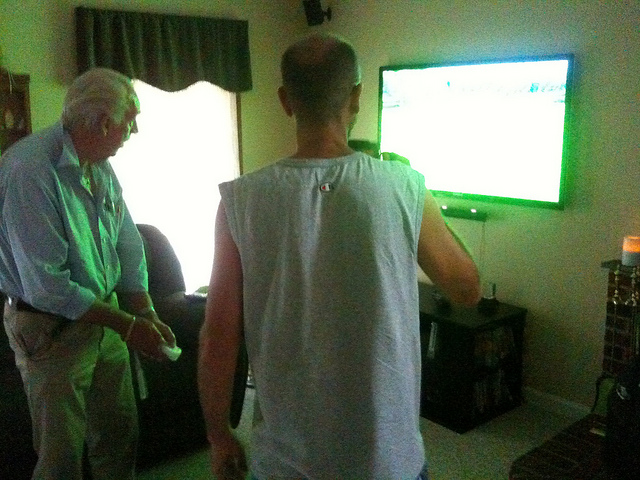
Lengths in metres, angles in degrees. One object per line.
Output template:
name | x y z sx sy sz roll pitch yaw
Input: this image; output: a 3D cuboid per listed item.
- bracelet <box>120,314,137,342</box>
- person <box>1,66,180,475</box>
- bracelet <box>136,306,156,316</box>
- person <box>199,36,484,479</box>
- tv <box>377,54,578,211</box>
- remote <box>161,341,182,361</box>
bracelet | -0.789 0.366 2.593 0.026 0.096 0.092 26 33 -15
person | -1.010 0.222 2.701 0.659 1.865 0.498 -7 16 -26
bracelet | -0.794 0.324 2.841 0.055 0.019 0.041 -10 6 -29
person | 0.052 0.091 1.834 0.793 1.334 0.377 4 15 13
tv | 0.979 -0.621 3.624 0.023 0.708 1.127 -11 15 -43
remote | -0.645 0.476 2.666 0.081 0.063 0.068 -16 -11 40
